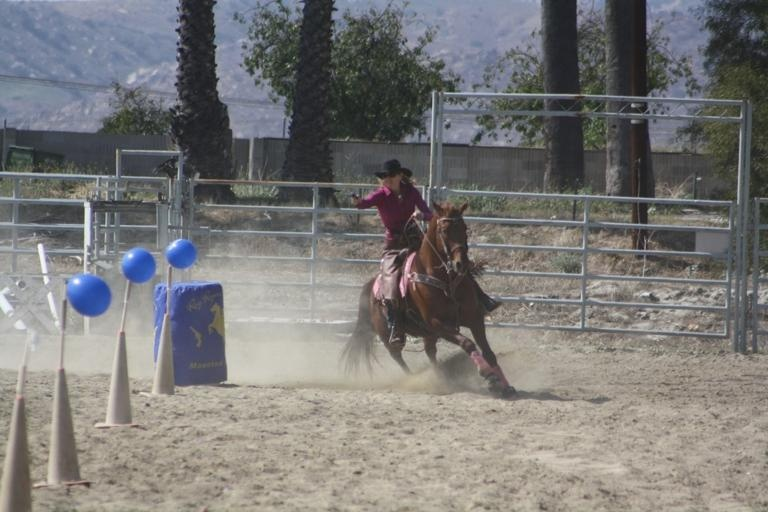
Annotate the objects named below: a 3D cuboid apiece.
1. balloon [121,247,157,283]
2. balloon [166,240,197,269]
[{"bbox_3d":[-5.984,0.289,37.797,0.776,1.020,0.816,4,15,-2],"label":"balloon"},{"bbox_3d":[-5.029,-0.086,38.374,0.650,0.758,0.701,2,32,6],"label":"balloon"}]
